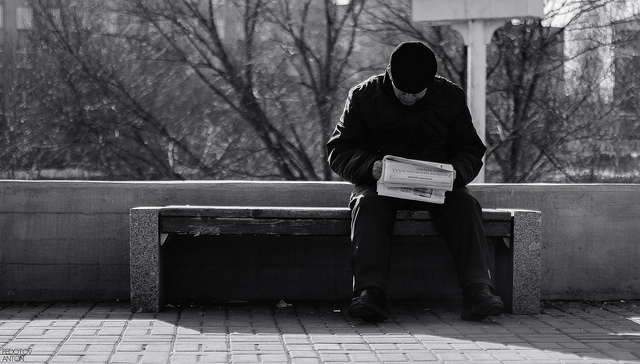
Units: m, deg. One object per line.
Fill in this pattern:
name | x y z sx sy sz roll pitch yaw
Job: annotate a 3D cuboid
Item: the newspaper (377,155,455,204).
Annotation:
newspaper | 1.041 -0.037 9.243 0.853 0.495 0.319 -1 0 -18
